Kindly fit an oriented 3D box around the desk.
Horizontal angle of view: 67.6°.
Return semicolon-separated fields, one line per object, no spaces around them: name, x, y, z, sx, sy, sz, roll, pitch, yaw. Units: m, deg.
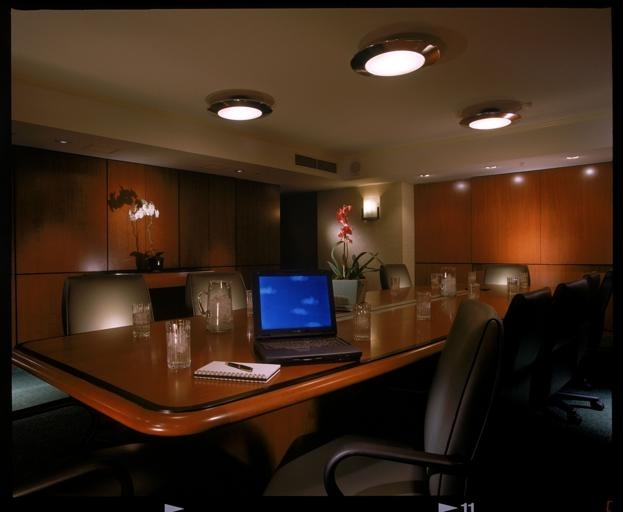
desk;-0.105;0.487;1.983;1.852;0.541;1.132;-3;0;-42

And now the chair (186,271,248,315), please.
chair;-0.618;0.207;2.997;0.247;0.313;0.418;1;3;43

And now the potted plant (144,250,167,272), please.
potted plant;-1.747;0.071;5.207;0.151;0.260;0.255;1;2;12

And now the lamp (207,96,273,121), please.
lamp;-0.617;-1.311;4.059;0.516;0.188;0.420;-4;0;12

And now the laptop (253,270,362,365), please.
laptop;-0.037;0.217;1.719;0.297;0.298;0.332;0;-4;-18

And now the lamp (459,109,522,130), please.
lamp;1.726;-1.317;4.493;0.297;0.084;0.310;-2;0;7

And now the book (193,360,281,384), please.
book;-0.232;0.362;1.476;0.260;0.061;0.133;-4;0;13
